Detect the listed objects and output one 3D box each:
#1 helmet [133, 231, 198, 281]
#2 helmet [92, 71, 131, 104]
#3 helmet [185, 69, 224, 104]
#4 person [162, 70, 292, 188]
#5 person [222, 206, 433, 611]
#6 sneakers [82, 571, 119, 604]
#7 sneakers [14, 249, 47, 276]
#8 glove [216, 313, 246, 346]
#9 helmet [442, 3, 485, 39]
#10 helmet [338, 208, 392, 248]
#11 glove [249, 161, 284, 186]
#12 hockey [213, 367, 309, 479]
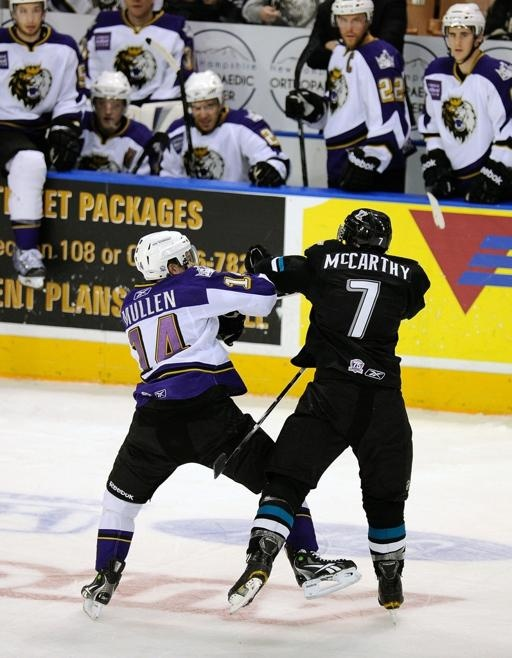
[{"bbox_3d":[-0.298,-0.230,2.464,0.167,0.163,0.205,6,23,45],"label":"helmet"},{"bbox_3d":[-0.875,-1.515,4.785,0.215,0.186,0.218,1,0,-2],"label":"helmet"},{"bbox_3d":[-0.317,-1.489,4.670,0.201,0.183,0.222,-4,23,14],"label":"helmet"},{"bbox_3d":[-0.285,-1.160,4.863,0.863,0.900,0.603,0,38,6],"label":"person"},{"bbox_3d":[0.234,0.231,2.236,0.479,1.192,0.601,3,7,10],"label":"person"},{"bbox_3d":[-0.443,0.745,2.176,0.056,0.073,0.155,33,-4,-12],"label":"sneakers"},{"bbox_3d":[-1.347,-0.407,4.595,0.159,0.162,0.087,-3,-1,2],"label":"sneakers"},{"bbox_3d":[-0.085,-0.013,2.606,0.098,0.100,0.116,3,9,-3],"label":"glove"},{"bbox_3d":[1.151,-1.734,4.345,0.203,0.197,0.234,1,14,22],"label":"helmet"},{"bbox_3d":[0.339,-0.315,2.438,0.138,0.130,0.144,7,24,-14],"label":"helmet"},{"bbox_3d":[0.056,-0.926,4.589,0.156,0.077,0.181,-11,38,-21],"label":"glove"},{"bbox_3d":[0.029,0.336,2.796,0.022,0.105,0.749,14,41,35],"label":"hockey"}]
